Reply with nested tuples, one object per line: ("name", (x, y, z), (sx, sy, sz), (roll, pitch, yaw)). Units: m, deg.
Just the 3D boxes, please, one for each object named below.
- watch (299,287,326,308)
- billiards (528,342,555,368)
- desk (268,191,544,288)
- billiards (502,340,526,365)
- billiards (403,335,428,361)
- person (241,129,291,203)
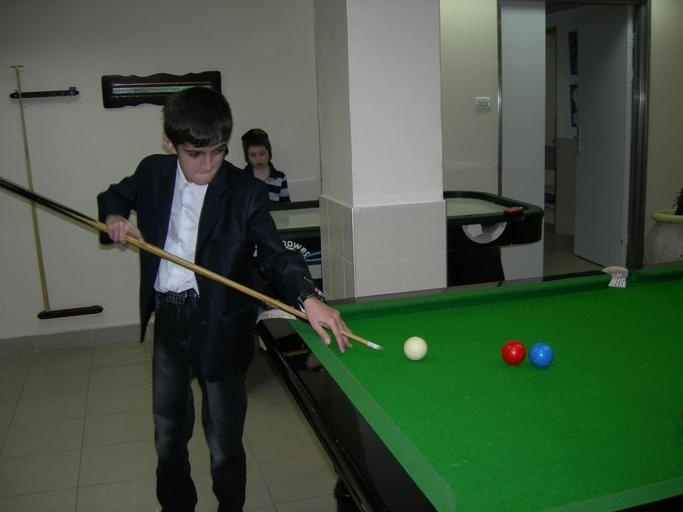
("watch", (-0.110, 0.152, 2.115), (0.093, 0.067, 0.059), (-25, 18, -2))
("billiards", (0.660, 0.326, 1.882), (0.072, 0.079, 0.043), (24, 2, 6))
("desk", (0.792, -0.153, 3.958), (1.242, 0.417, 0.887), (-7, 14, -23))
("billiards", (0.566, 0.316, 1.900), (0.072, 0.079, 0.074), (-10, -2, 12))
("billiards", (0.252, 0.310, 1.927), (0.070, 0.077, 0.040), (-4, -2, -1))
("person", (-0.609, -0.514, 4.623), (0.364, 1.054, 0.278), (-5, 16, -4))
